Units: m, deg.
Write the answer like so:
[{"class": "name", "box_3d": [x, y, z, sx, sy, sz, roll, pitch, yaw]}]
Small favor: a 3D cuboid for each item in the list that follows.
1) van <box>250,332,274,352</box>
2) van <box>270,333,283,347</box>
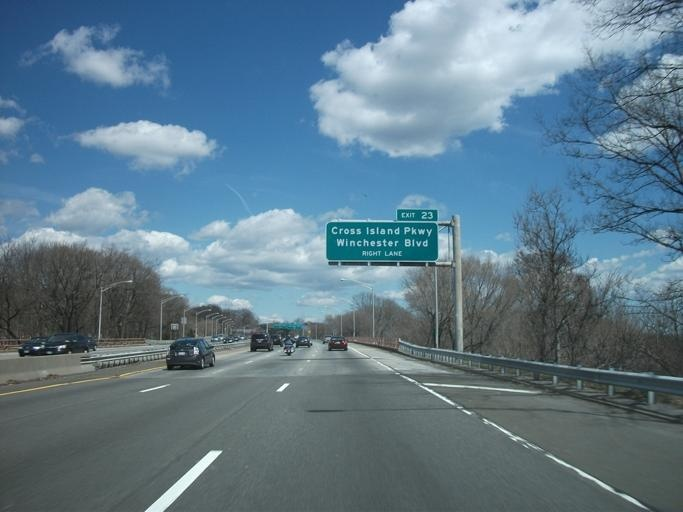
[{"class": "van", "box_3d": [-7.635, 8.418, 61.886, 1.320, 1.421, 2.573, 0, -3, 6]}, {"class": "van", "box_3d": [-8.799, 11.449, 86.220, 1.422, 1.403, 2.667, 0, -2, 3]}]
